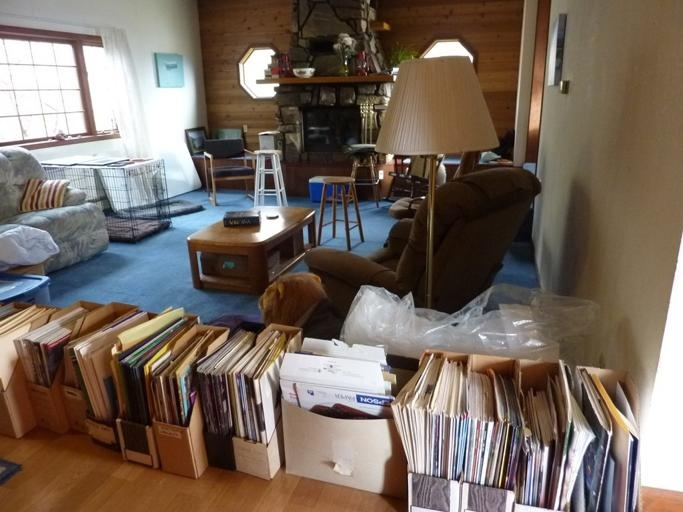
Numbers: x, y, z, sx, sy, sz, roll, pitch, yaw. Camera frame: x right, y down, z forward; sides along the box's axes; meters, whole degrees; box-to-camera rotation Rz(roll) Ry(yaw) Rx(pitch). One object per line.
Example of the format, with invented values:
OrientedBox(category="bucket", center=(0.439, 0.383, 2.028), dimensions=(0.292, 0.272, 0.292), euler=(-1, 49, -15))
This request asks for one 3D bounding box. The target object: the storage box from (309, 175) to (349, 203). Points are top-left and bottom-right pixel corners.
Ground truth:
OrientedBox(category="storage box", center=(-0.290, -0.844, 6.238), dimensions=(0.410, 0.353, 0.387), euler=(3, 18, 9))

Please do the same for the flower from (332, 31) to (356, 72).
OrientedBox(category="flower", center=(0.039, -2.670, 6.444), dimensions=(0.250, 0.488, 0.240), euler=(5, 21, 23))

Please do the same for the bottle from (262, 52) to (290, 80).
OrientedBox(category="bottle", center=(-0.938, -2.635, 6.780), dimensions=(0.333, 0.361, 0.520), euler=(-20, 24, -39))

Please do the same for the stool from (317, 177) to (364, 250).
OrientedBox(category="stool", center=(-0.023, -0.440, 4.962), dimensions=(0.514, 0.640, 0.493), euler=(-14, 22, -34))

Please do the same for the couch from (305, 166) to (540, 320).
OrientedBox(category="couch", center=(0.416, 0.069, 2.892), dimensions=(1.205, 1.102, 0.943), euler=(9, 20, 38))

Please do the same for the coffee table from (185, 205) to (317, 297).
OrientedBox(category="coffee table", center=(-0.755, -0.077, 4.182), dimensions=(0.727, 0.483, 1.015), euler=(3, 19, 20))

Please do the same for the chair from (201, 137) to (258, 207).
OrientedBox(category="chair", center=(-1.653, -1.228, 7.194), dimensions=(0.703, 0.832, 0.571), euler=(-14, 19, -31))

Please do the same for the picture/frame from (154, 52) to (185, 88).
OrientedBox(category="picture/frame", center=(-2.528, -2.797, 7.201), dimensions=(0.477, 0.411, 0.296), euler=(-9, 9, -4))
